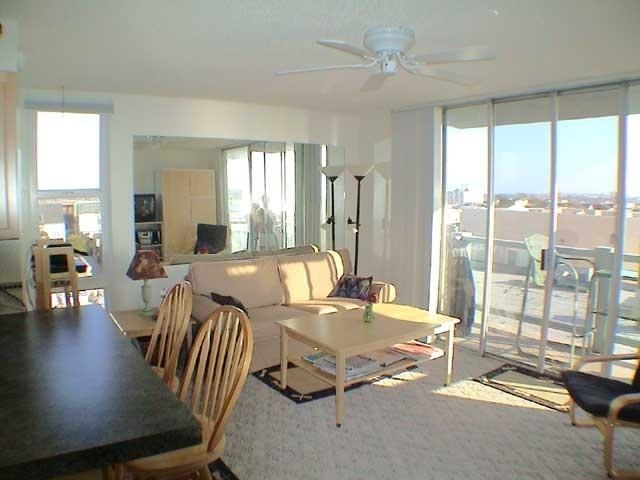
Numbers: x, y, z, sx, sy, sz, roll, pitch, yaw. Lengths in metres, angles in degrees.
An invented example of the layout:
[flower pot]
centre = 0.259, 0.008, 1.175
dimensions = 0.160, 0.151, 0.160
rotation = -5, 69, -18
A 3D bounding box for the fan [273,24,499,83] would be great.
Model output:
[fan]
centre = 0.409, -1.146, 2.962
dimensions = 1.049, 0.308, 1.055
rotation = 1, 11, -2

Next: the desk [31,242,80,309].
[desk]
centre = -2.025, 0.310, 3.600
dimensions = 0.291, 0.501, 0.290
rotation = -2, -3, -39
